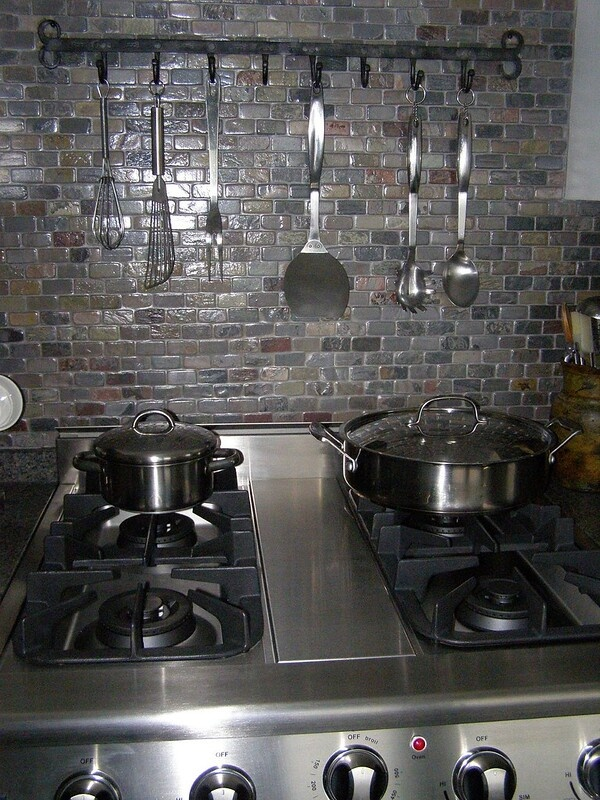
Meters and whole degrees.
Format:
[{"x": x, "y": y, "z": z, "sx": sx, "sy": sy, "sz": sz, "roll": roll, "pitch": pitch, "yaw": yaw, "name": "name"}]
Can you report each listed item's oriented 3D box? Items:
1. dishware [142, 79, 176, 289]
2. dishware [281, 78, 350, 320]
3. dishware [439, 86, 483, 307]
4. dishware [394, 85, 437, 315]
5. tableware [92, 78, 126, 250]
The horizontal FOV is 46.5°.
[{"x": -0.296, "y": -0.402, "z": 1.423, "sx": 0.063, "sy": 0.356, "sz": 0.048, "roll": 1, "pitch": 14, "yaw": 1, "name": "dishware"}, {"x": 0.034, "y": -0.396, "z": 1.444, "sx": 0.140, "sy": 0.468, "sz": 0.070, "roll": 1, "pitch": 14, "yaw": 2, "name": "dishware"}, {"x": 0.352, "y": -0.423, "z": 1.489, "sx": 0.089, "sy": 0.457, "sz": 0.067, "roll": -12, "pitch": 18, "yaw": -41, "name": "dishware"}, {"x": 0.248, "y": -0.419, "z": 1.474, "sx": 0.091, "sy": 0.473, "sz": 0.061, "roll": -10, "pitch": 17, "yaw": -36, "name": "dishware"}, {"x": -0.397, "y": -0.451, "z": 1.414, "sx": 0.059, "sy": 0.291, "sz": 0.035, "roll": 6, "pitch": 15, "yaw": 21, "name": "tableware"}]
